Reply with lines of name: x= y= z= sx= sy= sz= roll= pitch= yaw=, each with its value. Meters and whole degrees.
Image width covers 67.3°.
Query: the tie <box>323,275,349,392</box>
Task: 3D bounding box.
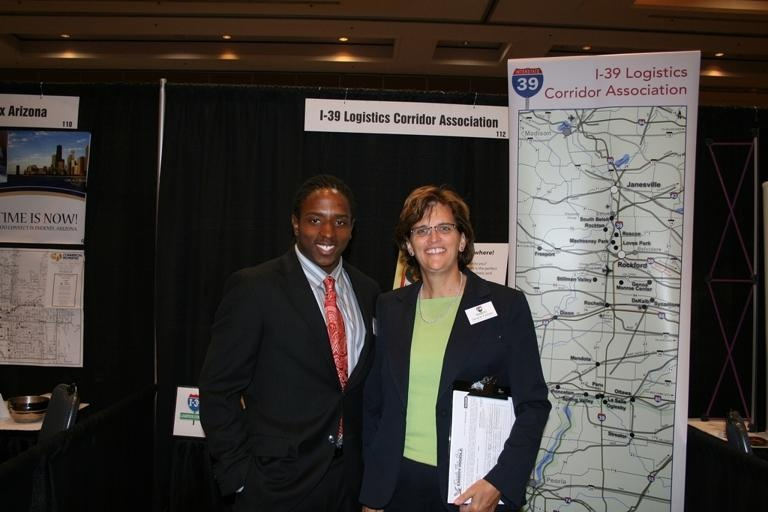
tie: x=-0.386 y=0.401 z=4.235 sx=0.129 sy=0.092 sz=0.800 roll=-7 pitch=37 yaw=-6

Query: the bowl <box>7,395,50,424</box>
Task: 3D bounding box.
bowl: x=-3.233 y=1.390 z=5.289 sx=0.322 sy=0.169 sz=0.345 roll=1 pitch=-9 yaw=0

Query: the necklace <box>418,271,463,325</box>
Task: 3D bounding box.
necklace: x=0.357 y=0.295 z=3.980 sx=0.240 sy=0.337 sz=0.081 roll=1 pitch=-8 yaw=12
